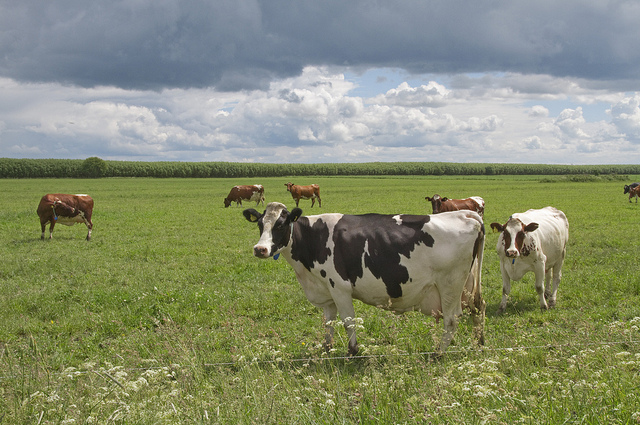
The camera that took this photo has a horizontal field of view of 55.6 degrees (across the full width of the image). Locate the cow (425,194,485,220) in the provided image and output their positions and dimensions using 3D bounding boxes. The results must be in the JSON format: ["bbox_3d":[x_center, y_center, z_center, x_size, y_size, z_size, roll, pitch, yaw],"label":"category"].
[{"bbox_3d":[7.341,0.144,31.805,3.704,1.891,1.094,1,-10,-33],"label":"cow"}]

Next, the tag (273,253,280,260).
[{"bbox_3d":[-1.148,1.170,15.958,0.143,0.180,0.180,-3,-4,8],"label":"tag"}]

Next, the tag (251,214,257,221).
[{"bbox_3d":[-1.789,0.156,16.369,0.157,0.112,0.048,9,17,36],"label":"tag"}]
